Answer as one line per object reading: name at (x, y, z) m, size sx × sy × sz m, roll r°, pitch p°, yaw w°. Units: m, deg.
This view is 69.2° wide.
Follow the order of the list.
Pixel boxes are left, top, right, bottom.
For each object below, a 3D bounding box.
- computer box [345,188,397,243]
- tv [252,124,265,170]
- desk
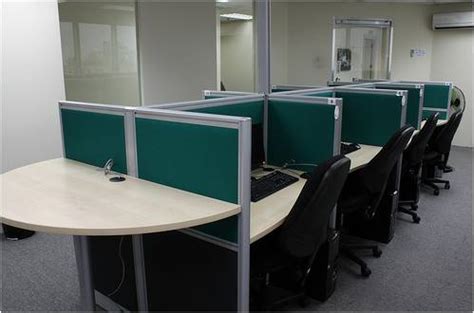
computer box at (1.477, 0.635, 3.714) m, size 0.308 × 0.497 × 0.539 m, roll -9°, pitch 8°, yaw -40°
tv at (0.163, -0.082, 2.964) m, size 0.091 × 0.382 × 0.214 m, roll 10°, pitch 19°, yaw 35°
desk at (1.232, 0.076, 3.618) m, size 4.772 × 1.553 × 1.176 m, roll -11°, pitch 18°, yaw -34°
